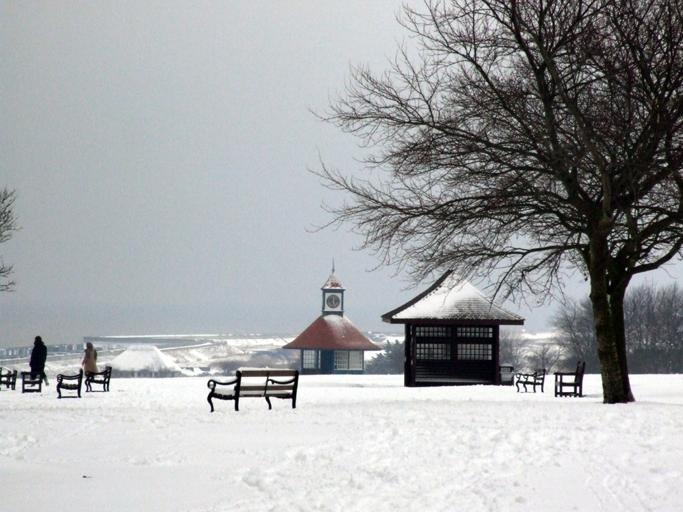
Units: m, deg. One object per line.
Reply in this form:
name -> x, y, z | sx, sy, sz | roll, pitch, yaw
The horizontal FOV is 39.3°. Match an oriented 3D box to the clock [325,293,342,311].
clock -> -0.713, 3.518, 72.879 | 1.010, 1.445, 0.175 | 3, -10, -5

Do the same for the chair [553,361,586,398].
chair -> 7.429, 4.079, 31.353 | 0.743, 1.298, 0.846 | 2, -5, 1
